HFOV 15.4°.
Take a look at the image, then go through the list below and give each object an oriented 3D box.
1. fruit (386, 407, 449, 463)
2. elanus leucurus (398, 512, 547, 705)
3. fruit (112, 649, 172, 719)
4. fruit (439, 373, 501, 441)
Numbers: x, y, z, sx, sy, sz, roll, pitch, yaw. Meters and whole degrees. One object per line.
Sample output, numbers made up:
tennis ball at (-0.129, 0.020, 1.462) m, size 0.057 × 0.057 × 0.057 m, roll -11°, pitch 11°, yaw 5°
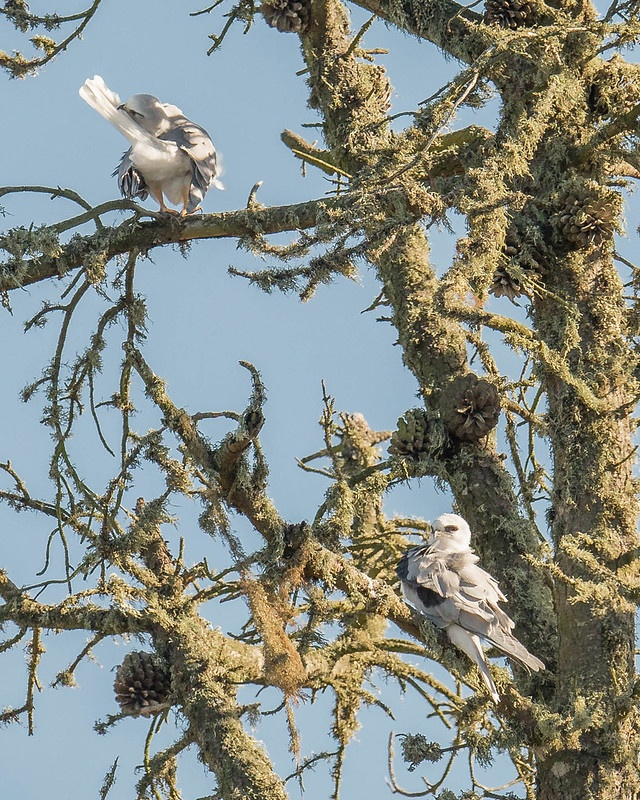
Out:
fruit at (0.513, 0.120, 12.409) m, size 0.289 × 0.346 × 0.283 m, roll -6°, pitch -76°, yaw -18°
elanus leucurus at (0.780, 0.986, 11.540) m, size 0.423 × 1.124 × 0.598 m, roll -24°, pitch -30°, yaw 1°
fruit at (-0.999, 1.580, 13.687) m, size 0.236 × 0.280 × 0.313 m, roll -23°, pitch -61°, yaw 5°
fruit at (0.780, 0.034, 12.306) m, size 0.308 × 0.230 × 0.257 m, roll -13°, pitch -57°, yaw 11°
